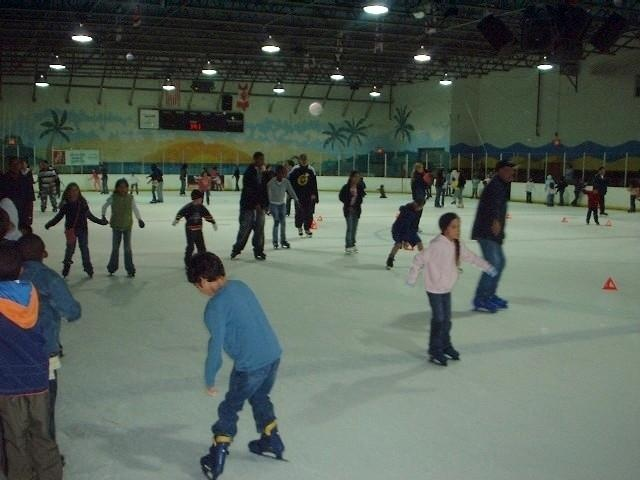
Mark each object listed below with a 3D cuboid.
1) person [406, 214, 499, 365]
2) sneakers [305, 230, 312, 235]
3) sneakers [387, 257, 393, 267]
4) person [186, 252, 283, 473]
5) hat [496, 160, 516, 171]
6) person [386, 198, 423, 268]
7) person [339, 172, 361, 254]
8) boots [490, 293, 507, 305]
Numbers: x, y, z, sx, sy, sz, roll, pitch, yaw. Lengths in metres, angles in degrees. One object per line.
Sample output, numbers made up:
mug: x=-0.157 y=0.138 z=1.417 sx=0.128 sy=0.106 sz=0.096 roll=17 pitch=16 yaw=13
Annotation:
person: x=1.186 y=0.463 z=5.941 sx=0.961 sy=1.436 sz=0.383 roll=-6 pitch=9 yaw=-35
sneakers: x=-0.262 y=-0.180 z=14.456 sx=0.107 sy=0.126 sz=0.100 roll=2 pitch=-16 yaw=-7
sneakers: x=1.164 y=0.377 z=10.321 sx=0.092 sy=0.152 sz=0.148 roll=-4 pitch=-12 yaw=34
person: x=-0.552 y=0.833 z=4.257 sx=0.631 sy=1.541 sz=0.330 roll=-5 pitch=8 yaw=-32
hat: x=2.255 y=-0.925 z=7.661 sx=0.180 sy=0.111 sz=0.221 roll=0 pitch=3 yaw=-21
person: x=1.480 y=-0.156 z=10.137 sx=0.801 sy=1.087 sz=0.508 roll=-2 pitch=18 yaw=-5
person: x=0.629 y=-0.553 z=12.055 sx=0.454 sy=1.579 sz=1.422 roll=0 pitch=7 yaw=4
boots: x=2.237 y=0.762 z=7.884 sx=0.266 sy=0.126 sz=0.112 roll=12 pitch=10 yaw=21
